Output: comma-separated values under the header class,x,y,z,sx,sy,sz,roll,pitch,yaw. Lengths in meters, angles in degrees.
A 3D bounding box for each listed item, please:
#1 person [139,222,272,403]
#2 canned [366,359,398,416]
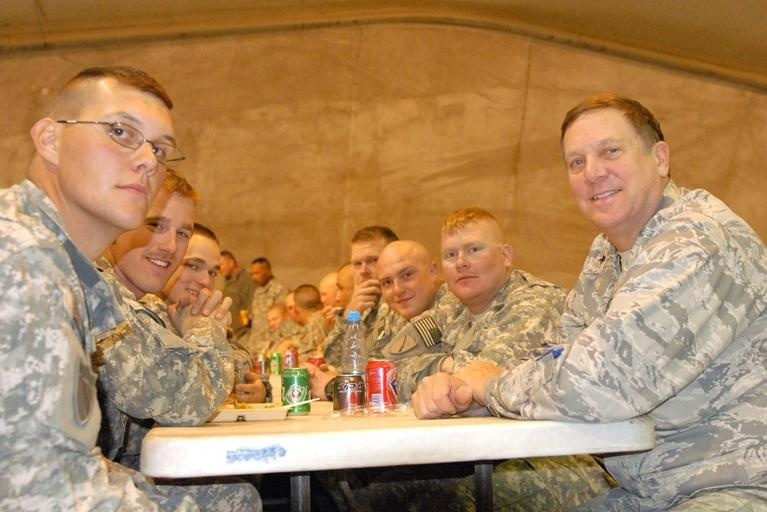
class,x,y,z,sx,sy,sz,roll,pitch,yaw
person,-0.836,0.182,3.543,0.423,1.282,0.372,-24,-24,26
canned,-0.010,0.463,2.363,0.128,0.204,0.128,-13,-14,34
